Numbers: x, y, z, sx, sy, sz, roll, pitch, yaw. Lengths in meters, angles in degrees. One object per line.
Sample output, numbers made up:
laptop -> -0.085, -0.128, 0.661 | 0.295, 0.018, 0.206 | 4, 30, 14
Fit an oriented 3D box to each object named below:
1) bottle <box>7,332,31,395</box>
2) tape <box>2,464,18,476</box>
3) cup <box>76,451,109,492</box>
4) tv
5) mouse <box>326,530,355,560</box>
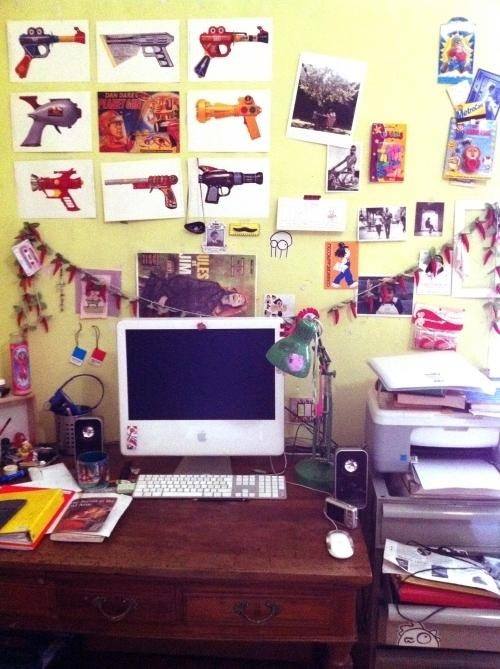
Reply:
bottle -> -0.739, 0.111, 1.790 | 0.061, 0.164, 0.075 | -9, 16, -35
tape -> -0.705, 0.395, 1.623 | 0.037, 0.022, 0.036 | 0, 4, -22
cup -> -0.427, 0.373, 1.523 | 0.093, 0.095, 0.093 | 3, -1, 0
tv -> -0.140, 0.163, 1.564 | 0.461, 0.376, 0.147 | 0, 3, 1
mouse -> 0.205, 0.482, 1.274 | 0.038, 0.012, 0.051 | -1, 22, -2
